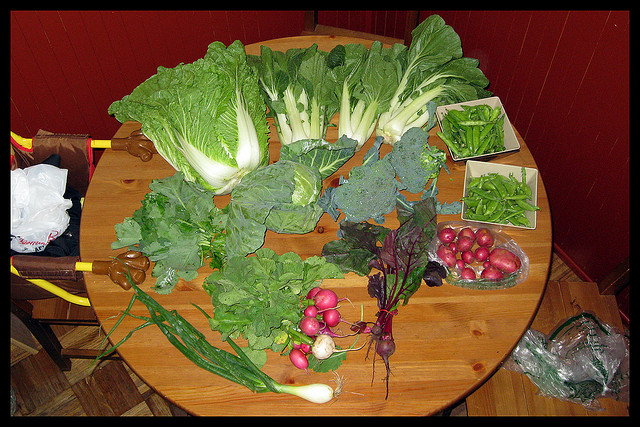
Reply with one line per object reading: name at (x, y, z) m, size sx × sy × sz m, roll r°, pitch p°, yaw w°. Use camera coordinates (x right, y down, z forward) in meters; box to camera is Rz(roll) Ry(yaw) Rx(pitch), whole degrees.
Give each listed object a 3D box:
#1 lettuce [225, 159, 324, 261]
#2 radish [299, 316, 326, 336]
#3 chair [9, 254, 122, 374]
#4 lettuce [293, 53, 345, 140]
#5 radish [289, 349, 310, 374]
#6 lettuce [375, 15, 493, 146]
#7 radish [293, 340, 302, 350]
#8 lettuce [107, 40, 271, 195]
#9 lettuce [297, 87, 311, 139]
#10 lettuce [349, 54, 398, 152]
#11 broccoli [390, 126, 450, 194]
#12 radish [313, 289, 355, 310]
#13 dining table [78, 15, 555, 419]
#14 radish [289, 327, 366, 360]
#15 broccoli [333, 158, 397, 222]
lettuce at (-0.304, -0.053, 2.854) m, size 0.675 × 0.464 × 0.376 m, roll -12°, pitch 36°, yaw -16°
radish at (-0.050, 0.659, 2.659) m, size 0.121 × 0.094 × 0.089 m, roll 14°, pitch -4°, yaw 4°
chair at (-1.833, 0.743, 3.235) m, size 0.730 × 1.154 × 0.650 m, roll -1°, pitch 76°, yaw -6°
lettuce at (-0.006, -0.821, 3.173) m, size 0.363 × 0.526 × 0.278 m, roll -2°, pitch 34°, yaw -2°
radish at (-0.125, 0.864, 2.662) m, size 0.136 × 0.071 × 0.071 m, roll 49°, pitch 38°, yaw 5°
lettuce at (0.758, -0.857, 3.463) m, size 0.799 × 0.333 × 0.995 m, roll 42°, pitch 80°, yaw 5°
radish at (-0.140, 0.787, 2.691) m, size 0.049 × 0.056 × 0.047 m, roll -1°, pitch 22°, yaw 3°
lettuce at (-0.768, -0.614, 2.996) m, size 0.847 × 0.891 × 0.550 m, roll -14°, pitch 36°, yaw -18°
lettuce at (-0.115, -0.701, 3.198) m, size 0.085 × 0.347 × 0.051 m, roll -9°, pitch 1°, yaw -4°
lettuce at (0.354, -0.664, 3.099) m, size 0.299 × 0.797 × 0.130 m, roll 11°, pitch -8°, yaw -12°
broccoli at (0.660, -0.336, 2.995) m, size 0.349 × 0.258 × 0.398 m, roll 14°, pitch 42°, yaw 8°
radish at (0.046, 0.518, 2.685) m, size 0.152 × 0.069 × 0.089 m, roll 6°, pitch 1°, yaw -3°
dining table at (-0.014, 0.011, 2.849) m, size 2.925 × 1.792 × 1.852 m, roll -3°, pitch 34°, yaw -4°
radish at (0.031, 0.773, 2.653) m, size 0.445 × 0.136 × 0.121 m, roll 3°, pitch 34°, yaw 5°
broccoli at (0.321, -0.128, 2.930) m, size 0.428 × 0.358 × 0.221 m, roll -16°, pitch 37°, yaw -22°
